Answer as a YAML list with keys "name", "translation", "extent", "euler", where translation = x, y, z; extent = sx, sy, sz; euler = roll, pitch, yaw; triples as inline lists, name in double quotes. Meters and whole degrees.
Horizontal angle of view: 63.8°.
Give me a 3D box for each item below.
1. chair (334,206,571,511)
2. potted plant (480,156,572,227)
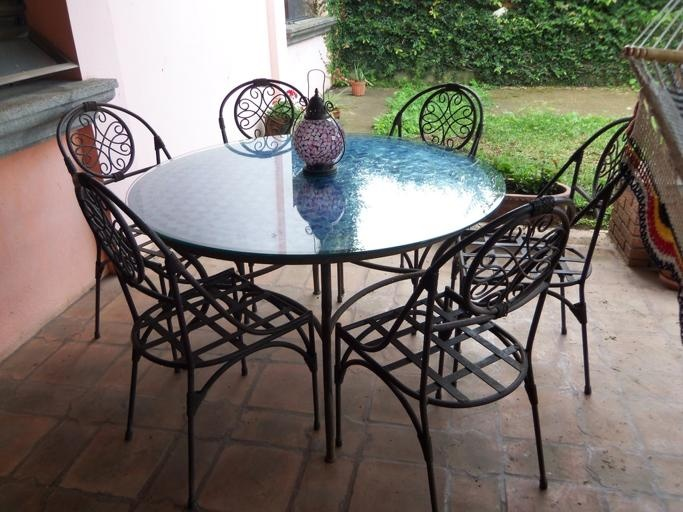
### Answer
- name: "chair"
  translation: [0.466, 0.463, 2.245]
  extent: [0.654, 1.311, 0.812]
  euler: [-14, 31, -20]
- name: "potted plant"
  translation: [1.212, -0.435, 3.725]
  extent: [0.675, 0.250, 0.608]
  euler: [-18, 30, -31]
